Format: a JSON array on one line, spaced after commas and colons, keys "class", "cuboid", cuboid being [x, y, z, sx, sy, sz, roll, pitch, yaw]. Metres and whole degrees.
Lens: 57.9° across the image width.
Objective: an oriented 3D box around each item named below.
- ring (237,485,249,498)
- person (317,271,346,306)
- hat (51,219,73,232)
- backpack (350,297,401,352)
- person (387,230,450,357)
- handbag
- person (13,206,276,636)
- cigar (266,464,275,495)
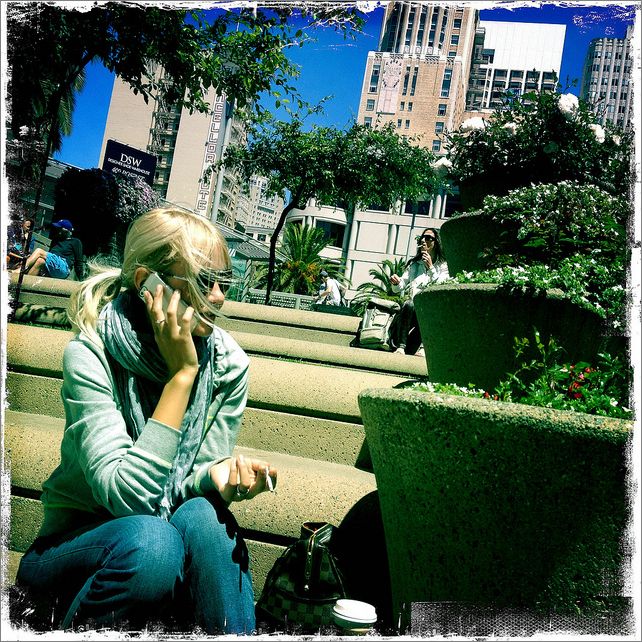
[{"class": "ring", "cuboid": [-0.218, 0.471, 1.597, 0.034, 0.019, 0.028, 17, 5, -34]}, {"class": "person", "cuboid": [0.192, -0.636, 12.958, 0.483, 0.671, 0.841, 10, 2, 28]}, {"class": "hat", "cuboid": [-3.261, -1.189, 7.268, 0.238, 0.156, 0.181, 12, 2, -14]}, {"class": "backpack", "cuboid": [0.567, 0.050, 5.943, 0.425, 0.678, 0.353, 11, -19, 32]}, {"class": "person", "cuboid": [0.953, -0.342, 5.760, 0.520, 1.273, 1.775, 9, 2, 7]}, {"class": "handbag", "cuboid": [-0.068, 0.868, 1.902, 0.178, 0.293, 0.299, 8, -36, 24]}, {"class": "person", "cuboid": [-0.455, 0.257, 1.677, 0.693, 1.011, 0.495, 9, 2, -4]}, {"class": "cigar", "cuboid": [-0.139, 0.430, 1.581, 0.013, 0.068, 0.041, 9, 2, 29]}]
